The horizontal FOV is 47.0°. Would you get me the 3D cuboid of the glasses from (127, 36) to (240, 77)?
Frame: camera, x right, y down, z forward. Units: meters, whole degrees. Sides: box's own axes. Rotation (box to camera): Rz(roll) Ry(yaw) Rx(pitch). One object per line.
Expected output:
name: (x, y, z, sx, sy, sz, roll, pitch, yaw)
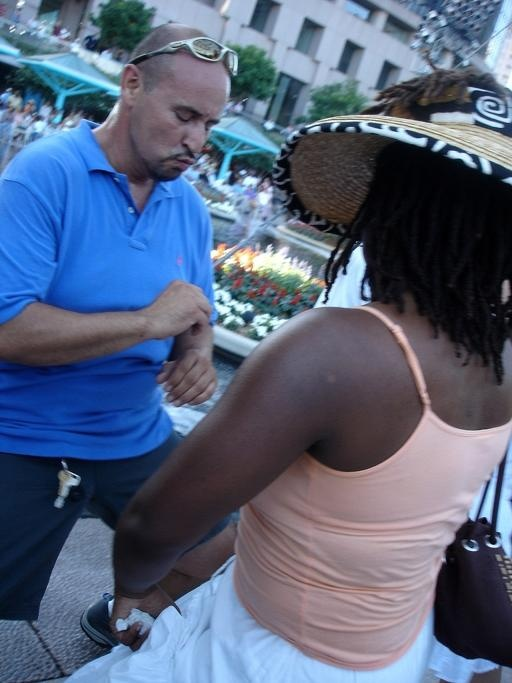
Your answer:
glasses: (-0.235, -0.899, 1.848, 0.245, 0.055, 0.177, -6, -7, 20)
